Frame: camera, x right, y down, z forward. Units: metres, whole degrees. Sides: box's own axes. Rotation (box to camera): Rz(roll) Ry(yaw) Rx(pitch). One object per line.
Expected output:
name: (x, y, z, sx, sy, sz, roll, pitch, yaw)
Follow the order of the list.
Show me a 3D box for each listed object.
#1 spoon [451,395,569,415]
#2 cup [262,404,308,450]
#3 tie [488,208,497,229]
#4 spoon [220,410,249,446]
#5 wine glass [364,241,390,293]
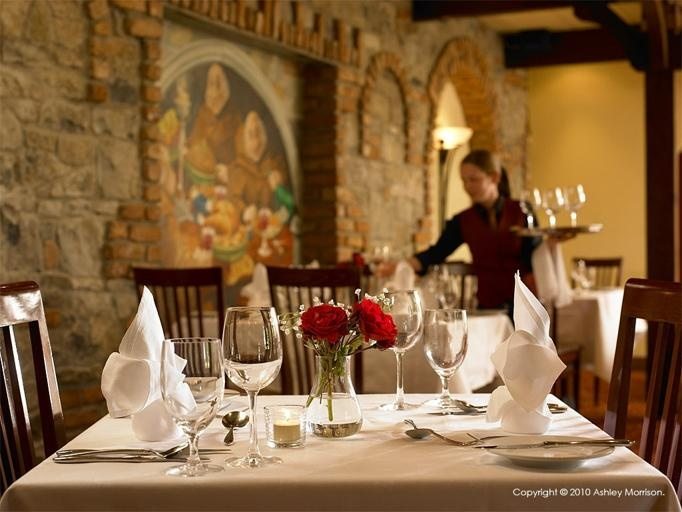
spoon: (0.393, 0.352, 1.656, 0.040, 0.052, 0.267, -12, 1, -45)
cup: (-0.116, 0.359, 1.487, 0.076, 0.079, 0.084, -1, -1, 0)
tie: (0.841, -0.217, 3.915, 0.049, 0.105, 0.019, -4, 3, -23)
spoon: (-0.239, 0.388, 1.558, 0.052, 0.024, 0.171, 7, 15, -1)
wine glass: (0.194, 0.056, 3.837, 0.163, 0.242, 0.412, 1, 14, 7)
